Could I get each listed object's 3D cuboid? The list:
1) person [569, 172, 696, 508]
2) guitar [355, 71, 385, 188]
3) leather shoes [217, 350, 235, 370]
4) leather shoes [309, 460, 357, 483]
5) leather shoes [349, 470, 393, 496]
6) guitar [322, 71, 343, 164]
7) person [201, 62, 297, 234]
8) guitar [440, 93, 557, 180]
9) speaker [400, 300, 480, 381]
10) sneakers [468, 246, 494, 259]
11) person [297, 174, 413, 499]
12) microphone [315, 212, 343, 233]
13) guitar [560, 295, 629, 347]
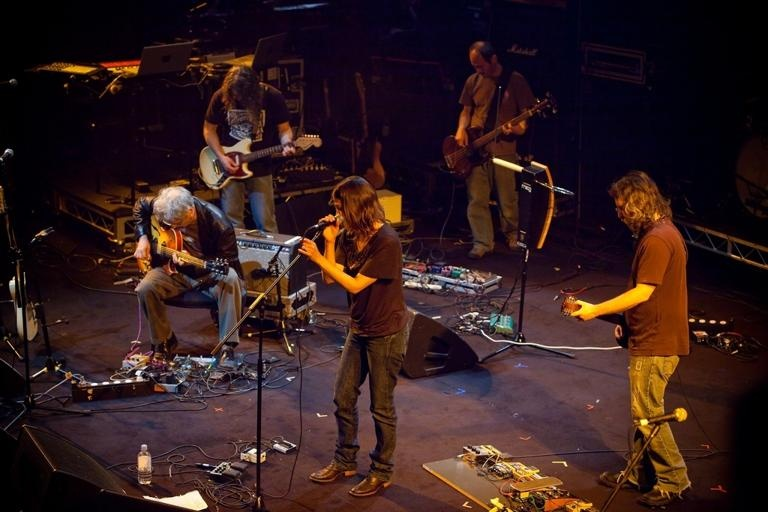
[{"bbox_3d":[2.318,0.730,5.817,0.930,2.868,0.964,-5,14,-31],"label":"person"},{"bbox_3d":[-0.239,-2.362,12.399,0.437,2.110,0.966,-1,12,-17],"label":"guitar"},{"bbox_3d":[-1.839,1.219,7.772,0.234,0.246,0.274,2,4,-19],"label":"leather shoes"},{"bbox_3d":[-0.465,2.009,6.224,0.499,0.167,0.170,-1,5,-16],"label":"leather shoes"},{"bbox_3d":[-0.100,2.037,6.052,0.410,0.155,0.170,-11,21,-30],"label":"leather shoes"},{"bbox_3d":[-0.972,-2.596,12.760,0.467,1.613,0.205,11,14,32],"label":"guitar"},{"bbox_3d":[-1.876,-1.189,9.400,1.368,2.934,0.967,-1,24,-7],"label":"person"},{"bbox_3d":[2.252,-1.710,11.739,1.078,0.318,2.905,8,-1,30],"label":"guitar"},{"bbox_3d":[0.572,0.959,8.086,1.026,0.630,0.978,4,8,-10],"label":"speaker"},{"bbox_3d":[1.638,-0.061,10.946,0.475,0.177,0.169,-3,7,-40],"label":"sneakers"},{"bbox_3d":[-0.216,0.728,5.927,0.846,2.817,0.564,4,12,6],"label":"person"},{"bbox_3d":[-0.456,-0.295,5.811,0.200,0.170,0.419,2,11,-5],"label":"microphone"},{"bbox_3d":[2.304,0.748,7.215,0.895,0.205,0.474,28,40,34],"label":"guitar"}]
